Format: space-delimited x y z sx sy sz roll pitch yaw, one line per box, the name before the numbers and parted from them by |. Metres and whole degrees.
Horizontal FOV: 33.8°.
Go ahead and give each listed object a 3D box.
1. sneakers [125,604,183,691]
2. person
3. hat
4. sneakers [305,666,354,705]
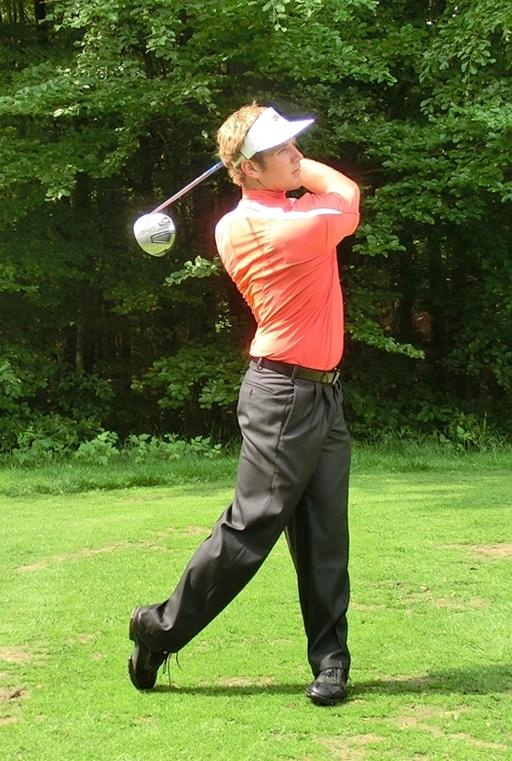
sneakers | -0.334 0.873 2.729 0.233 0.290 0.107 -3 7 0
person | -0.015 0.053 2.767 0.701 1.901 0.363 -1 1 7
hat | 0.073 -0.782 2.709 0.266 0.175 0.146 -1 1 -22
sneakers | 0.227 0.957 2.652 0.066 0.067 0.143 33 5 15
